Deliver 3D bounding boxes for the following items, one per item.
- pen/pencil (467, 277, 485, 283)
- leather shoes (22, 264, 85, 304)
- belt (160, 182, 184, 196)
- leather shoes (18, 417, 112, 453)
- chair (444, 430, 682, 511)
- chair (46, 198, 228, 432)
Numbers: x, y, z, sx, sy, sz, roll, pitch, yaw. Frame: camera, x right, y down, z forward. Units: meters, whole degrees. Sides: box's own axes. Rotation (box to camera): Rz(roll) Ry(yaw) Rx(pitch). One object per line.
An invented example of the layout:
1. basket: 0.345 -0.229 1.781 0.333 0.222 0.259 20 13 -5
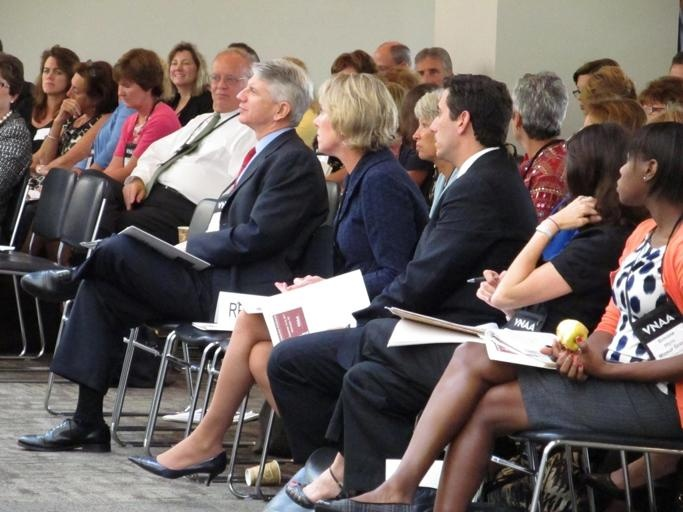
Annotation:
1. pen/pencil: 0.456 0.082 2.308 0.070 0.018 0.016 -7 2 -35
2. leather shoes: -1.366 0.146 3.461 0.479 0.189 0.190 -3 -1 6
3. belt: -1.206 -0.472 4.749 0.103 0.040 0.077 34 -5 0
4. leather shoes: -1.293 0.807 3.151 0.397 0.181 0.166 5 -9 -5
5. chair: 0.685 0.650 2.032 0.340 0.180 0.247 3 4 -18
6. chair: -0.952 0.291 3.410 0.826 1.038 0.829 4 -9 45
